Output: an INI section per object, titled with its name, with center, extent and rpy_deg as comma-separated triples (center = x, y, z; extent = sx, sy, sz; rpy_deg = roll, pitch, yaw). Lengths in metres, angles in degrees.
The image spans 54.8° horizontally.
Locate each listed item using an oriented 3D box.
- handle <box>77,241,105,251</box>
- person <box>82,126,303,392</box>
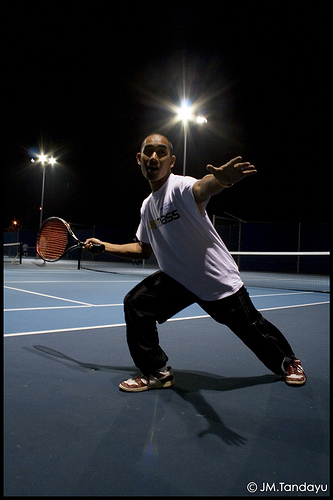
[handle]
center = -0.713, -0.042, 3.046
extent = 0.085, 0.076, 0.276
rpy_deg = -9, 8, -40
[person]
center = 0.094, 0.040, 2.386
extent = 1.424, 1.946, 0.995
rpy_deg = 4, 2, 37
